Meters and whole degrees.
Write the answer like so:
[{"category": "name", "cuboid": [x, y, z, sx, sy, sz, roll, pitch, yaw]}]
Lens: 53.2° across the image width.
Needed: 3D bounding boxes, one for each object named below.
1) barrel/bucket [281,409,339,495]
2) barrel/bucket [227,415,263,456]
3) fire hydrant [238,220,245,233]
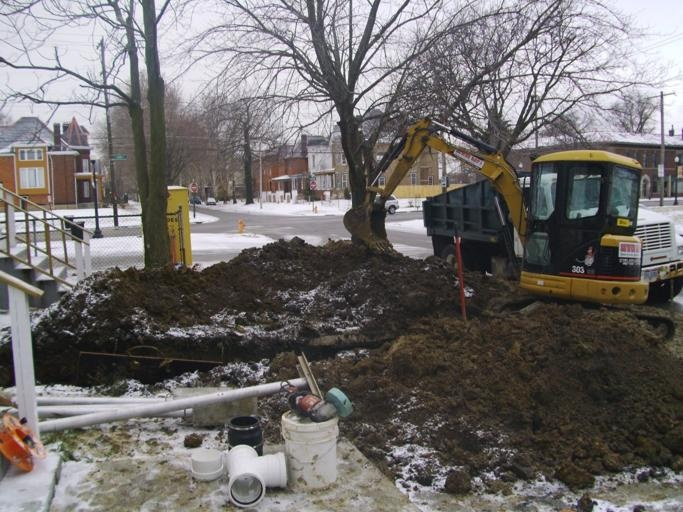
[{"category": "barrel/bucket", "cuboid": [-0.361, 2.226, 7.957, 0.615, 0.770, 0.656, 1, 5, 0]}, {"category": "barrel/bucket", "cuboid": [-1.127, 2.125, 7.995, 0.395, 0.412, 0.443, -7, 5, -12]}, {"category": "fire hydrant", "cuboid": [-4.781, -1.414, 32.561, 0.293, 0.332, 0.763, -21, -13, -11]}]
